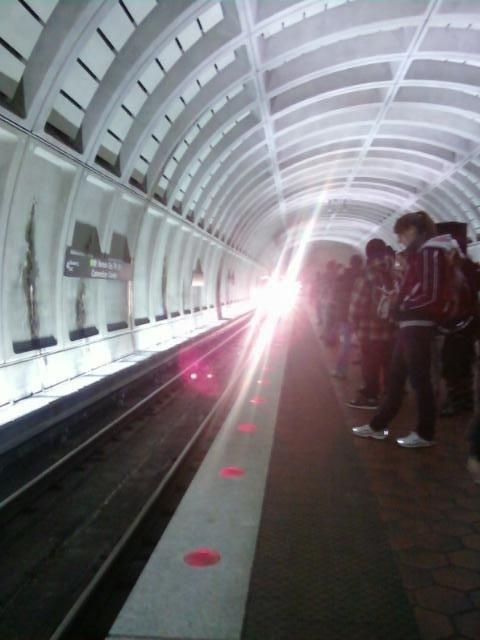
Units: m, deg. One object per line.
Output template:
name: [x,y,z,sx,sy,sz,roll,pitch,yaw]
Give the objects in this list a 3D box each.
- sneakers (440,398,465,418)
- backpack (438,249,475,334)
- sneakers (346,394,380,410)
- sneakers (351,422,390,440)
sneakers: [2.461,1.018,4.218,0.226,0.094,0.156,-42,16,-31]
backpack: [1.846,-0.239,3.115,0.198,0.797,0.462,7,3,32]
sneakers: [1.646,1.063,4.835,0.375,0.249,0.164,2,2,15]
sneakers: [1.326,1.097,3.699,0.360,0.222,0.166,2,-5,28]
